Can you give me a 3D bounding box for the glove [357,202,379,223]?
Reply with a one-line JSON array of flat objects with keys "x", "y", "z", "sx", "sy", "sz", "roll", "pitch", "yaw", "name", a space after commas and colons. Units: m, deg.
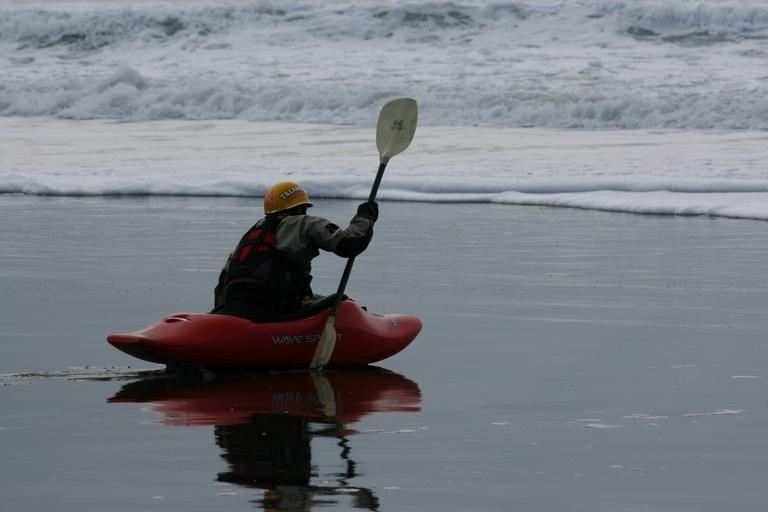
[{"x": -0.303, "y": -0.948, "z": 34.213, "sx": 0.474, "sy": 0.407, "sz": 0.529, "roll": 4, "pitch": -4, "yaw": 21, "name": "glove"}]
